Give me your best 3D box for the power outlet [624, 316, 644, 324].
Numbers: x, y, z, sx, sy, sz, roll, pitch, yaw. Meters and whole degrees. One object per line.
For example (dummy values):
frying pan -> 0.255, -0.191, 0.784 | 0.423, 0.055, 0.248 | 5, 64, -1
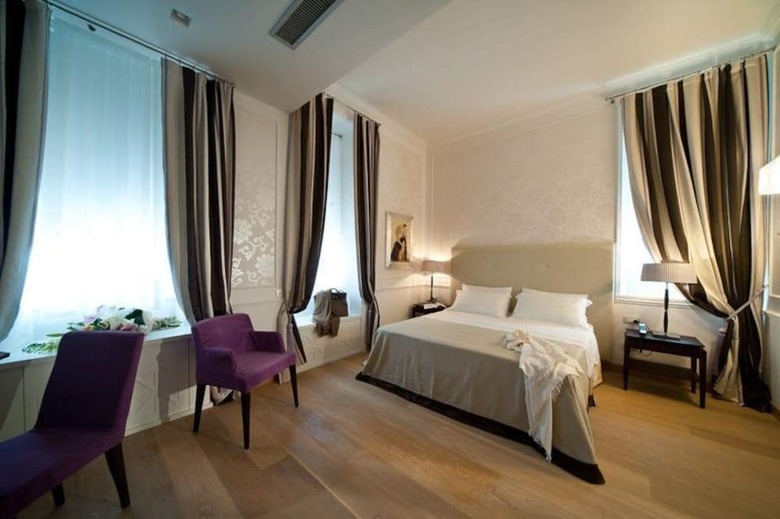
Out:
power outlet -> 3.328, 0.829, 6.432 | 0.157, 0.059, 0.088 | 2, 11, 35

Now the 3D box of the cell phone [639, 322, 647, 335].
cell phone -> 3.269, 0.901, 6.060 | 0.086, 0.092, 0.164 | -1, 19, 15

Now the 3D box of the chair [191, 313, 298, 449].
chair -> -1.680, 1.295, 5.436 | 1.140, 1.197, 1.192 | -2, 6, -8

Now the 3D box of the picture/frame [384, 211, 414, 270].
picture/frame -> 0.115, -0.316, 7.746 | 0.045, 1.006, 0.934 | -1, -3, 31

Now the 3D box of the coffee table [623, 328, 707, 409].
coffee table -> 3.548, 1.190, 6.082 | 1.112, 0.962, 0.799 | -2, -5, 36

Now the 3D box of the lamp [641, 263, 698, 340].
lamp -> 3.584, 0.510, 5.949 | 0.608, 0.944, 0.507 | -1, 1, -36
